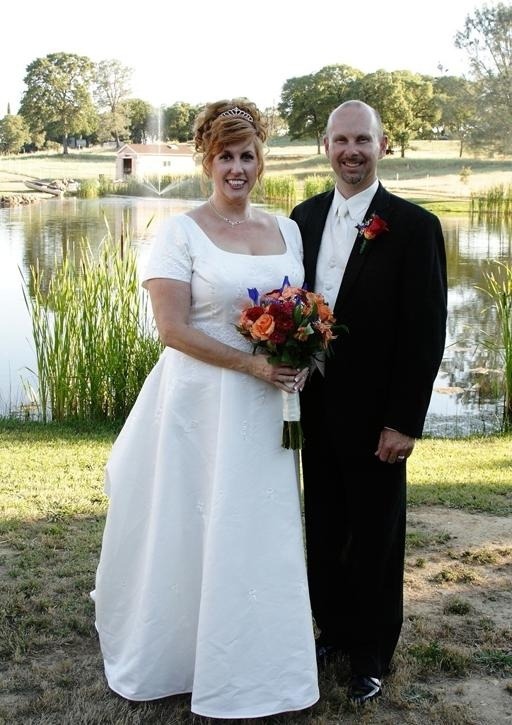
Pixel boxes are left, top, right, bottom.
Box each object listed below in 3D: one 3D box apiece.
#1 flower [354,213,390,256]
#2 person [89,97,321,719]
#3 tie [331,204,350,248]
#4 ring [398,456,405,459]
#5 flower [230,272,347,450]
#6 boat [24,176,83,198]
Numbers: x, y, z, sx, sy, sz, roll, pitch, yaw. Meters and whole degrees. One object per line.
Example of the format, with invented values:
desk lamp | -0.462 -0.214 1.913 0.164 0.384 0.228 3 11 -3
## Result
flower | 0.413 -0.457 2.387 0.100 0.142 0.136 -2 11 -15
person | -0.176 0.139 2.266 0.732 2.026 0.628 -1 11 -13
tie | 0.312 -0.500 2.503 0.051 0.158 0.048 -1 -9 24
ring | 0.513 0.330 2.391 0.015 0.015 0.017 8 -4 1
flower | 0.096 0.007 2.275 0.329 0.588 0.313 0 11 -6
boat | -10.641 -9.229 35.708 0.985 0.677 2.891 -15 25 -29
